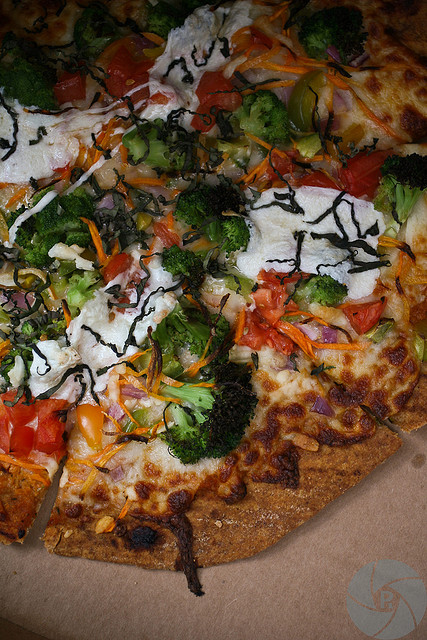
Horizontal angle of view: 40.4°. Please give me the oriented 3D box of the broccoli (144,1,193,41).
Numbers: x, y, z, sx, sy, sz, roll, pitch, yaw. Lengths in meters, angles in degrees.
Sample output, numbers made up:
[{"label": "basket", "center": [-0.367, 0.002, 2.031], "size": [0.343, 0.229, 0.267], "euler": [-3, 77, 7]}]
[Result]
[{"label": "broccoli", "center": [-0.237, -1.567, 3.029], "size": [0.259, 0.161, 0.388], "euler": [-3, 34, -2]}]

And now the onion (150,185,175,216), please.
[{"label": "onion", "center": [-0.259, -0.622, 2.953], "size": [0.132, 0.152, 0.042], "euler": [-17, 1, -23]}]

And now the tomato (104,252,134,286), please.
[{"label": "tomato", "center": [-0.490, -0.263, 2.943], "size": [0.182, 0.109, 0.077], "euler": [-27, 43, -31]}]

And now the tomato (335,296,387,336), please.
[{"label": "tomato", "center": [0.778, -0.017, 3.041], "size": [0.258, 0.177, 0.111], "euler": [-5, 37, -5]}]

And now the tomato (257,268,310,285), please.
[{"label": "tomato", "center": [0.329, -0.230, 2.975], "size": [0.319, 0.083, 0.070], "euler": [5, 15, 2]}]

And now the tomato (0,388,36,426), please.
[{"label": "tomato", "center": [-1.003, 0.476, 3.044], "size": [0.154, 0.216, 0.073], "euler": [-29, 21, 0]}]

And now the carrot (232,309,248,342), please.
[{"label": "carrot", "center": [0.129, 0.027, 2.977], "size": [0.044, 0.144, 0.132], "euler": [22, 78, 0]}]

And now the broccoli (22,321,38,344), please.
[{"label": "broccoli", "center": [-0.944, 0.061, 3.011], "size": [0.062, 0.020, 0.147], "euler": [-34, 70, -1]}]

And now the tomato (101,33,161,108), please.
[{"label": "tomato", "center": [-0.426, -1.285, 2.947], "size": [0.359, 0.389, 0.126], "euler": [1, -11, -2]}]

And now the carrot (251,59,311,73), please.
[{"label": "carrot", "center": [0.345, -1.296, 2.951], "size": [0.261, 0.054, 0.036], "euler": [6, 65, -17]}]

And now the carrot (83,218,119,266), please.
[{"label": "carrot", "center": [-0.563, -0.365, 2.935], "size": [0.077, 0.318, 0.086], "euler": [-13, 28, 30]}]

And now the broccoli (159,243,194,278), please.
[{"label": "broccoli", "center": [-0.186, -0.290, 2.829], "size": [0.180, 0.099, 0.135], "euler": [36, 40, 14]}]

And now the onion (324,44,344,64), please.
[{"label": "onion", "center": [0.628, -1.391, 3.029], "size": [0.067, 0.094, 0.028], "euler": [-44, 1, 2]}]

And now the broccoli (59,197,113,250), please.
[{"label": "broccoli", "center": [-0.647, -0.473, 2.899], "size": [0.222, 0.243, 0.103], "euler": [-43, 8, -14]}]

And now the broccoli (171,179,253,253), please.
[{"label": "broccoli", "center": [0.001, -0.526, 2.976], "size": [0.404, 0.368, 0.153], "euler": [26, -6, -6]}]

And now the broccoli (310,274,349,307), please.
[{"label": "broccoli", "center": [0.585, -0.148, 2.946], "size": [0.175, 0.149, 0.079], "euler": [7, 21, -1]}]

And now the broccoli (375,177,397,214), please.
[{"label": "broccoli", "center": [0.877, -0.623, 2.952], "size": [0.119, 0.152, 0.038], "euler": [15, 7, 0]}]

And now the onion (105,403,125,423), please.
[{"label": "onion", "center": [-0.519, 0.485, 3.050], "size": [0.082, 0.092, 0.059], "euler": [28, 47, 35]}]

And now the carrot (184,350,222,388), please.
[{"label": "carrot", "center": [-0.059, 0.251, 3.000], "size": [0.256, 0.106, 0.068], "euler": [-34, 6, 27]}]

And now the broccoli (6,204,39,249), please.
[{"label": "broccoli", "center": [-0.944, -0.470, 2.842], "size": [0.193, 0.185, 0.077], "euler": [13, 12, 3]}]

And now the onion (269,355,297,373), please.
[{"label": "onion", "center": [0.367, 0.246, 3.071], "size": [0.132, 0.072, 0.054], "euler": [-10, 37, -11]}]

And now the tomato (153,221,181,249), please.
[{"label": "tomato", "center": [-0.234, -0.430, 2.922], "size": [0.101, 0.142, 0.034], "euler": [-37, -6, 0]}]

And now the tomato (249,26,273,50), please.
[{"label": "tomato", "center": [0.242, -1.432, 2.935], "size": [0.114, 0.100, 0.085], "euler": [0, 36, 3]}]

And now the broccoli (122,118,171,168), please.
[{"label": "broccoli", "center": [-0.329, -0.857, 2.820], "size": [0.216, 0.209, 0.133], "euler": [-7, 37, -7]}]

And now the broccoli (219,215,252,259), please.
[{"label": "broccoli", "center": [0.103, -0.415, 2.878], "size": [0.190, 0.167, 0.072], "euler": [-32, 3, -12]}]

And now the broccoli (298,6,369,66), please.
[{"label": "broccoli", "center": [0.624, -1.484, 3.005], "size": [0.342, 0.277, 0.100], "euler": [5, 1, -5]}]

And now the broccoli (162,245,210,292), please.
[{"label": "broccoli", "center": [-0.187, -0.259, 2.864], "size": [0.175, 0.099, 0.216], "euler": [25, 32, 5]}]

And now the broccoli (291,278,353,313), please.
[{"label": "broccoli", "center": [0.543, -0.131, 2.986], "size": [0.232, 0.082, 0.194], "euler": [28, 75, 18]}]

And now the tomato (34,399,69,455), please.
[{"label": "tomato", "center": [-0.831, 0.543, 3.008], "size": [0.187, 0.268, 0.084], "euler": [2, 9, -23]}]

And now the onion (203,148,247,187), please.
[{"label": "onion", "center": [0.051, -0.794, 2.959], "size": [0.216, 0.165, 0.055], "euler": [-36, 54, 1]}]

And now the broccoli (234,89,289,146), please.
[{"label": "broccoli", "center": [0.241, -0.997, 2.896], "size": [0.271, 0.259, 0.170], "euler": [-1, 37, 2]}]

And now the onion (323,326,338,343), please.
[{"label": "onion", "center": [0.615, 0.079, 3.058], "size": [0.076, 0.077, 0.050], "euler": [3, 37, 8]}]

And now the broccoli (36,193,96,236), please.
[{"label": "broccoli", "center": [-0.714, -0.518, 2.827], "size": [0.249, 0.197, 0.088], "euler": [-19, 6, -9]}]
